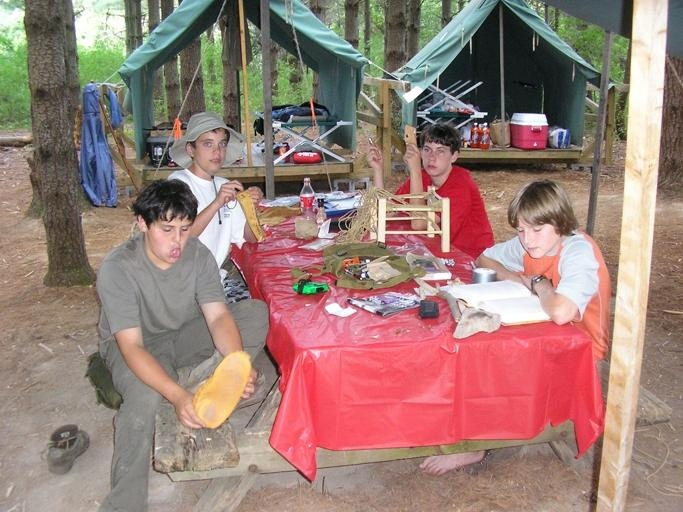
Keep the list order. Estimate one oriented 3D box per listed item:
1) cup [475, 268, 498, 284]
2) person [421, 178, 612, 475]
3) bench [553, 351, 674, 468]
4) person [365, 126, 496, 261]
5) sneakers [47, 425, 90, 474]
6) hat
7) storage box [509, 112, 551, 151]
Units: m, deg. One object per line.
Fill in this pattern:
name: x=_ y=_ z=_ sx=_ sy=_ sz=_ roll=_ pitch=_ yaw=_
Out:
cup: x=0.798 y=0.105 z=3.076 sx=0.086 sy=0.075 sz=0.086 roll=-1 pitch=11 yaw=0
person: x=1.078 y=0.348 z=3.112 sx=0.882 sy=1.418 sz=0.658 roll=-10 pitch=17 yaw=-14
bench: x=1.551 y=0.926 z=3.366 sx=0.754 sy=0.170 sz=0.759 roll=-18 pitch=11 yaw=-22
person: x=0.796 y=-0.531 z=4.678 sx=1.024 sy=1.214 sz=0.792 roll=10 pitch=31 yaw=17
sneakers: x=-1.768 y=1.223 z=3.578 sx=0.213 sy=0.162 sz=0.336 roll=-3 pitch=13 yaw=1
hat: x=-0.938 y=-0.843 z=4.032 sx=0.383 sy=0.204 sz=0.380 roll=-9 pitch=12 yaw=36
storage box: x=3.664 y=-2.467 z=10.923 sx=0.539 sy=0.666 sz=0.868 roll=-2 pitch=17 yaw=0
